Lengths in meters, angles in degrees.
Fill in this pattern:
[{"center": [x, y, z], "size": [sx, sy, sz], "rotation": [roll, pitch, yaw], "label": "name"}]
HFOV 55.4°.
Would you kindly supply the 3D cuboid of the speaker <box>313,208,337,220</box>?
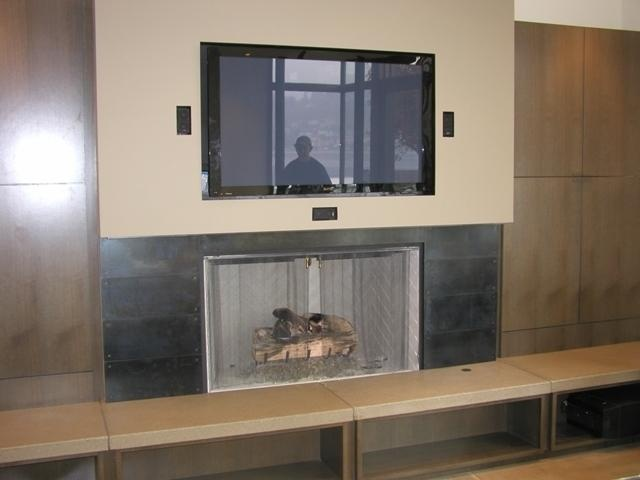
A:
[{"center": [0.025, -0.160, 3.796], "size": [0.139, 0.078, 0.034], "rotation": [-1, 9, -11], "label": "speaker"}]
